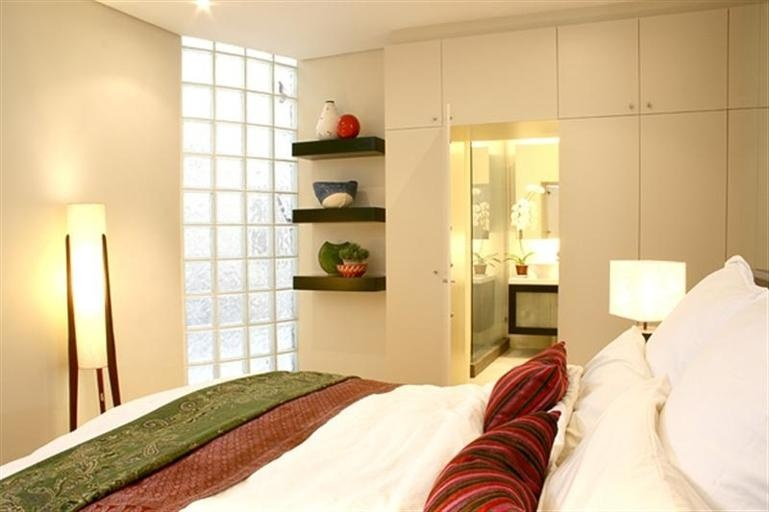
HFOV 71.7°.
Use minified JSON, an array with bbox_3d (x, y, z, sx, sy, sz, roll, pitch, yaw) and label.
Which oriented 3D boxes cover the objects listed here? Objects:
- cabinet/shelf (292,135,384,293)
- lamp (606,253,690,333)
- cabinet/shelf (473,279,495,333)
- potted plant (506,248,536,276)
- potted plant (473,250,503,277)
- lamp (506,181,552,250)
[{"bbox_3d":[-0.439,-0.379,5.118,0.939,1.392,0.361,-1,2,12],"label":"cabinet/shelf"},{"bbox_3d":[1.712,0.192,3.586,0.493,0.649,0.553,0,1,18],"label":"lamp"},{"bbox_3d":[1.090,0.549,5.830,0.240,0.583,0.638,-1,0,21],"label":"cabinet/shelf"},{"bbox_3d":[1.693,0.095,6.566,0.294,0.227,0.325,-5,-9,29],"label":"potted plant"},{"bbox_3d":[1.197,0.095,6.082,0.289,0.145,0.293,-2,-6,20],"label":"potted plant"},{"bbox_3d":[1.792,-0.459,6.510,0.419,0.842,0.150,-1,3,16],"label":"lamp"}]
